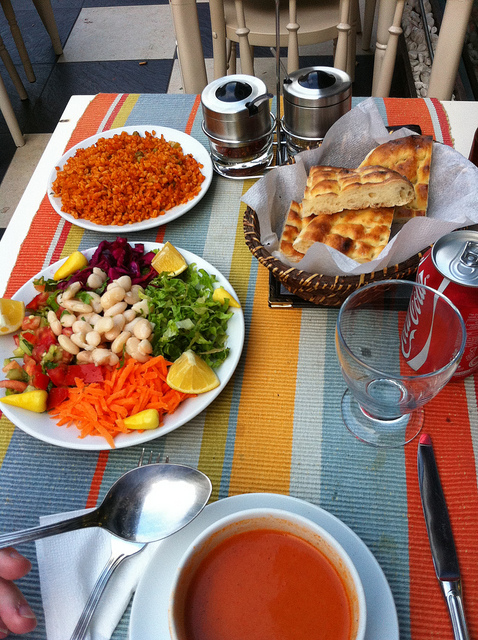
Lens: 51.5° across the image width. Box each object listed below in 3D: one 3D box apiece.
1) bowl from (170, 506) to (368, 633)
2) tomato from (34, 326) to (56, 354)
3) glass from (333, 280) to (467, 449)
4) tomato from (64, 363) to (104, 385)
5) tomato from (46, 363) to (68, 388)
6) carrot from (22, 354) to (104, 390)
[{"bbox_3d":[0.023,0.231,0.444,0.162,0.061,0.113,-11,54,-2],"label":"bowl"},{"bbox_3d":[-0.305,0.032,0.774,0.039,0.014,0.035,-12,64,-8],"label":"tomato"},{"bbox_3d":[0.197,0.054,0.598,0.129,0.187,0.120,-1,61,4],"label":"glass"},{"bbox_3d":[-0.227,0.075,0.694,0.046,0.011,0.031,-1,55,4],"label":"tomato"},{"bbox_3d":[-0.259,0.080,0.712,0.032,0.013,0.030,-5,51,-3],"label":"tomato"},{"bbox_3d":[-0.259,0.080,0.717,0.069,0.023,0.053,13,42,-25],"label":"carrot"}]
